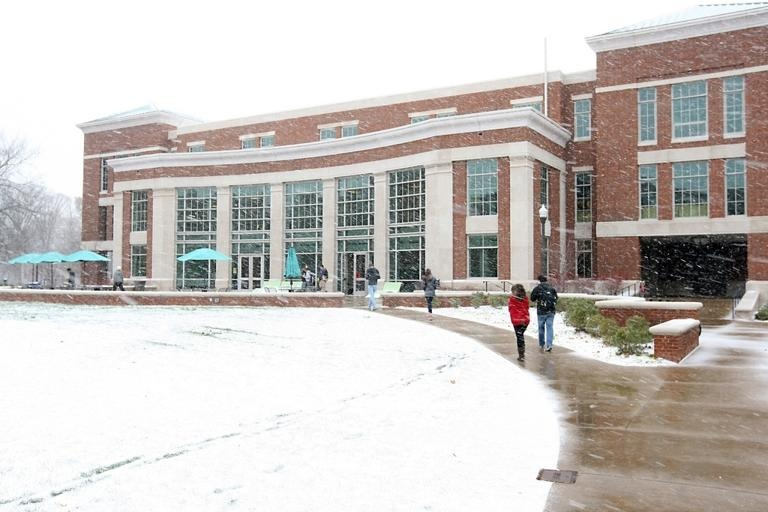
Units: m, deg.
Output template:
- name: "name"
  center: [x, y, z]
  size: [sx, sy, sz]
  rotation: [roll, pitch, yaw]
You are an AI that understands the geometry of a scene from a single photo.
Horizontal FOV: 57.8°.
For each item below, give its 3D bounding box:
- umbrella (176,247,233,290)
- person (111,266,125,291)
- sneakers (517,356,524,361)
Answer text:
- name: "umbrella"
  center: [-11.488, 1.172, 43.247]
  size: [3.575, 2.155, 3.507]
  rotation: [2, 4, 1]
- name: "person"
  center: [-16.461, 1.545, 43.393]
  size: [0.608, 1.468, 2.267]
  rotation: [-9, 12, -21]
- name: "sneakers"
  center: [3.891, 2.903, 19.739]
  size: [0.189, 0.124, 0.334]
  rotation: [-2, 10, 10]
